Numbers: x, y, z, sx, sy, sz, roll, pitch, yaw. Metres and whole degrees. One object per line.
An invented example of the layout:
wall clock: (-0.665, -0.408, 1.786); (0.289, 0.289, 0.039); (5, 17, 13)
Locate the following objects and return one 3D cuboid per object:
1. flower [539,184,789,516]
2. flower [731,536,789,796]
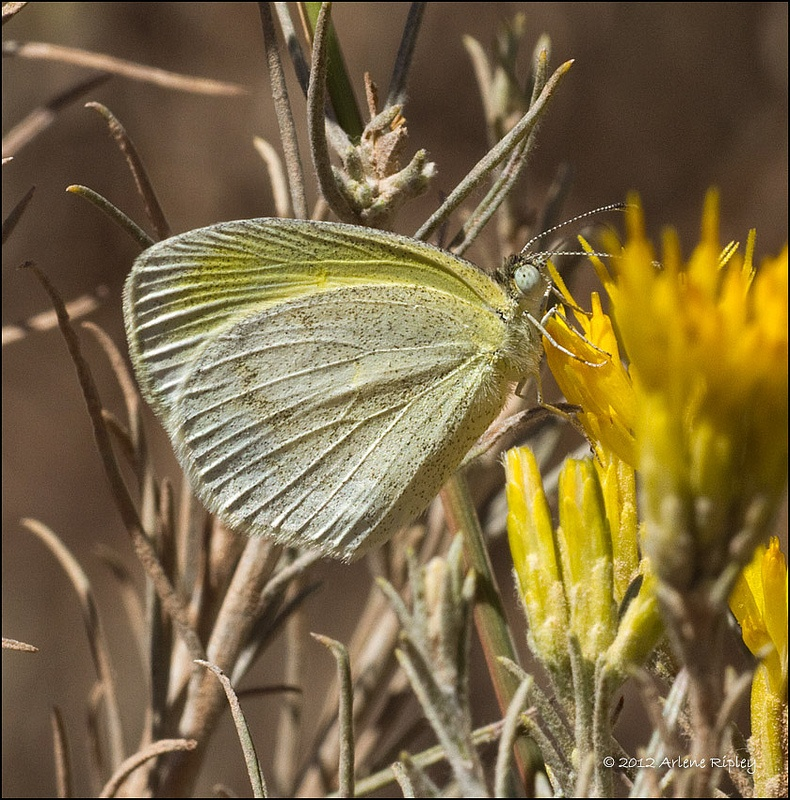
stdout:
flower: (0.236, -0.016, 0.948); (0.226, 0.210, 0.181); (-1, -20, 29)
flower: (0.350, 0.247, 1.051); (0.053, 0.232, 0.078); (-5, -28, 18)
